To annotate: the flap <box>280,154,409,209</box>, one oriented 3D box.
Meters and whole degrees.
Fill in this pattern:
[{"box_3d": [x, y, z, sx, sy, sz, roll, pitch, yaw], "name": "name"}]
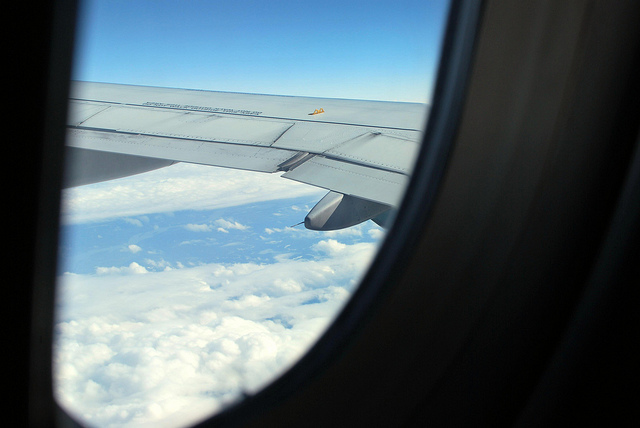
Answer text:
[{"box_3d": [0.233, -0.236, 3.271, 0.864, 0.062, 0.351, 17, 40, 26], "name": "flap"}]
